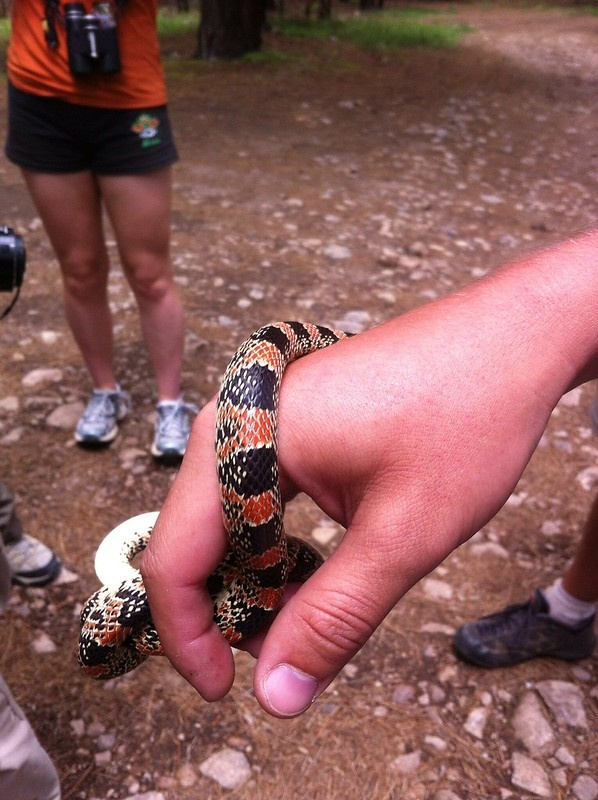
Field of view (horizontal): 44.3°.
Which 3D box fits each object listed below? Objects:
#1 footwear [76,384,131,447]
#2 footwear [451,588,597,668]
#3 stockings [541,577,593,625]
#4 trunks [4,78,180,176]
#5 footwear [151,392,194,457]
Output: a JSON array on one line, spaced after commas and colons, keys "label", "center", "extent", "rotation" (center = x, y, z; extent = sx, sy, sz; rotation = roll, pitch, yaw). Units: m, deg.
[{"label": "footwear", "center": [-0.813, 0.066, 2.999], "extent": [0.126, 0.117, 0.273], "rotation": [6, 27, -5]}, {"label": "footwear", "center": [0.739, 0.771, 2.466], "extent": [0.487, 0.164, 0.207], "rotation": [-4, 32, -12]}, {"label": "stockings", "center": [0.883, 0.672, 2.498], "extent": [0.184, 0.124, 0.154], "rotation": [-11, 22, -22]}, {"label": "trunks", "center": [-0.691, -0.891, 2.362], "extent": [0.489, 0.294, 0.296], "rotation": [-8, 30, -21]}, {"label": "footwear", "center": [-0.523, 0.090, 2.992], "extent": [0.170, 0.153, 0.355], "rotation": [3, 29, -13]}]
